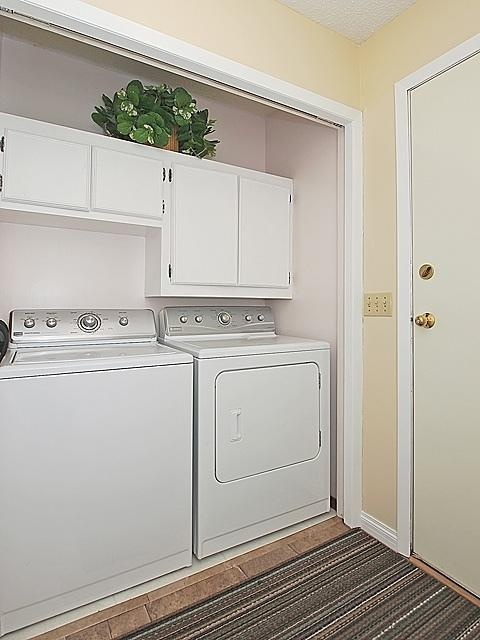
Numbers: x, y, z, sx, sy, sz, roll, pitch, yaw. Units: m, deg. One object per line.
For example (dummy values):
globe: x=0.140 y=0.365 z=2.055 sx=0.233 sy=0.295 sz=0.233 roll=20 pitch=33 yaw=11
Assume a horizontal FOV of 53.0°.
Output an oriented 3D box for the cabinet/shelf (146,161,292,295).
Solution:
cabinet/shelf: x=-0.082 y=-0.436 z=2.468 sx=0.741 sy=0.644 sz=0.274 roll=0 pitch=1 yaw=-34

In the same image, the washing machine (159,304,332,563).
washing machine: x=0.008 y=0.438 z=2.302 sx=0.778 sy=0.989 sz=0.630 roll=-2 pitch=5 yaw=-22

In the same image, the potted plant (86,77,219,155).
potted plant: x=-0.336 y=-0.907 z=2.203 sx=0.360 sy=0.253 sz=0.519 roll=32 pitch=39 yaw=21
